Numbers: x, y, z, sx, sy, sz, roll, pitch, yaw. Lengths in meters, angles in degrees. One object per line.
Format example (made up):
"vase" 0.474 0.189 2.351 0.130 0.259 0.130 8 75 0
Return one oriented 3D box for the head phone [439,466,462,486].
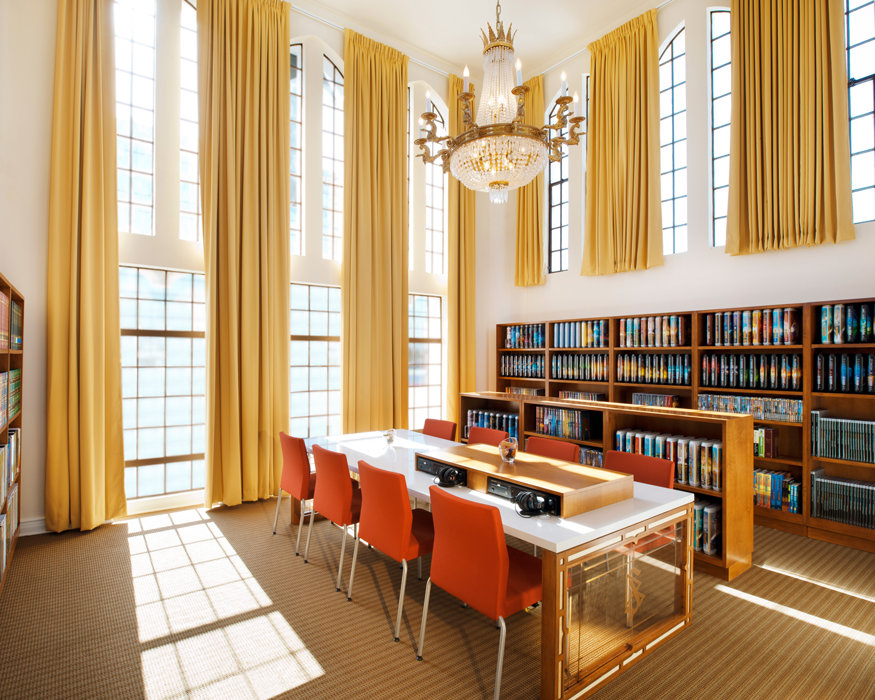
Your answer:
"head phone" 0.098 0.946 5.055 0.124 0.133 0.128 -6 4 -39
